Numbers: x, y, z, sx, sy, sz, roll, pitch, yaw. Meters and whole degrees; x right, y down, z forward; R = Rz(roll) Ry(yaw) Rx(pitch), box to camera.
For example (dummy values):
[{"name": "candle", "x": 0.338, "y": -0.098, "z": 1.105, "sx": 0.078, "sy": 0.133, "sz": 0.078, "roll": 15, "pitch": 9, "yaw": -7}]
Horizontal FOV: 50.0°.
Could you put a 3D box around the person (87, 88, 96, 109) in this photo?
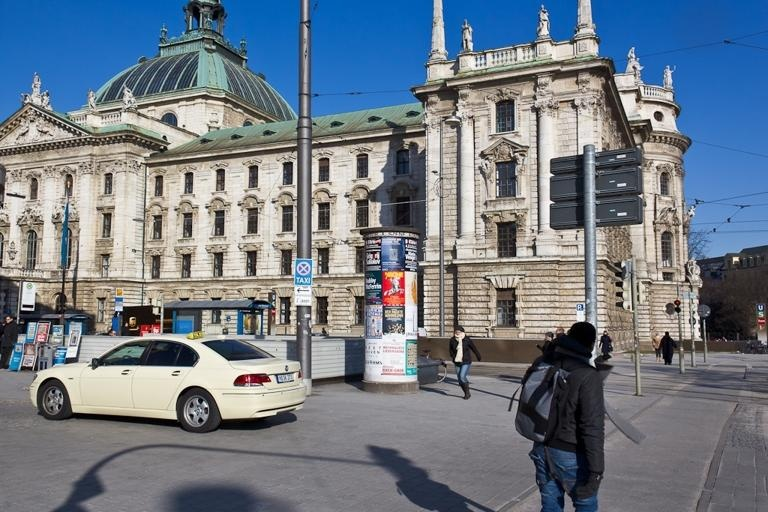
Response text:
[{"name": "person", "x": -26.022, "y": -13.612, "z": 72.479, "sx": 0.470, "sy": 1.783, "sz": 1.373, "roll": 4, "pitch": -8, "yaw": -30}]

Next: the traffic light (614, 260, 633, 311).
[{"name": "traffic light", "x": 7.929, "y": 0.899, "z": 26.896, "sx": 0.391, "sy": 1.634, "sz": 1.368, "roll": -3, "pitch": -8, "yaw": 16}]

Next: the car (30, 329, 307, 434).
[{"name": "car", "x": -5.779, "y": 3.339, "z": 22.578, "sx": 6.602, "sy": 1.774, "sz": 2.761, "roll": 1, "pitch": -5, "yaw": 16}]

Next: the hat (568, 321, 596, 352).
[{"name": "hat", "x": 3.710, "y": 1.471, "z": 15.347, "sx": 0.501, "sy": 0.540, "sz": 0.598, "roll": 1, "pitch": 2, "yaw": 15}]
